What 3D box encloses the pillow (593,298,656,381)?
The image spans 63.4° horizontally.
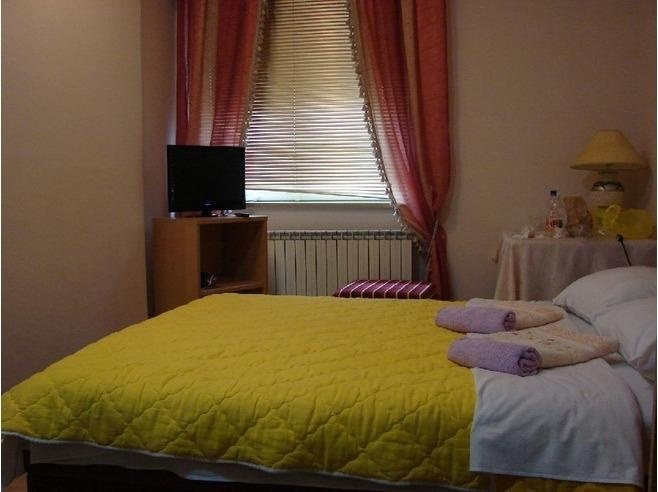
[{"bbox_3d":[1.087,0.351,1.944,0.250,0.075,0.263,-16,24,-32],"label":"pillow"}]

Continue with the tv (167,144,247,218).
[{"bbox_3d":[-0.898,-0.483,3.913,0.533,0.482,0.073,-1,6,-20],"label":"tv"}]

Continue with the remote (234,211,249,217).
[{"bbox_3d":[-0.651,-0.233,3.991,0.063,0.032,0.134,1,6,-12],"label":"remote"}]

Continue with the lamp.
[{"bbox_3d":[1.815,-0.420,3.465,0.434,0.655,0.694,1,3,30],"label":"lamp"}]
